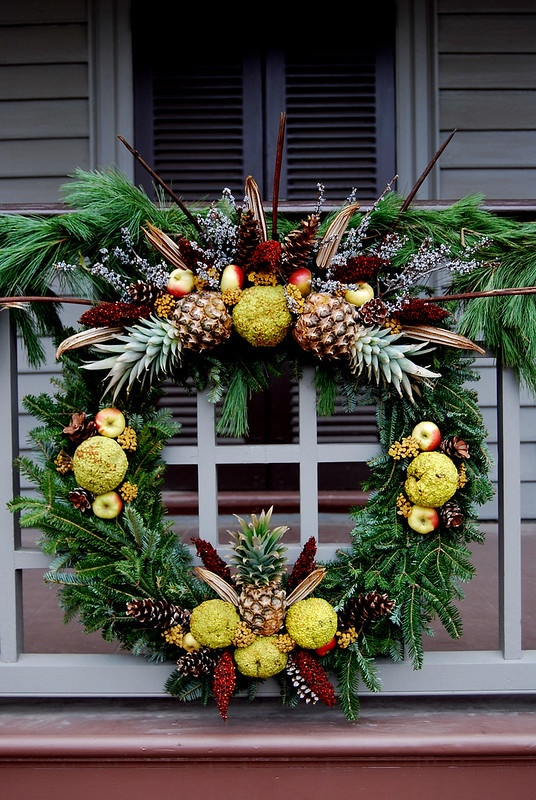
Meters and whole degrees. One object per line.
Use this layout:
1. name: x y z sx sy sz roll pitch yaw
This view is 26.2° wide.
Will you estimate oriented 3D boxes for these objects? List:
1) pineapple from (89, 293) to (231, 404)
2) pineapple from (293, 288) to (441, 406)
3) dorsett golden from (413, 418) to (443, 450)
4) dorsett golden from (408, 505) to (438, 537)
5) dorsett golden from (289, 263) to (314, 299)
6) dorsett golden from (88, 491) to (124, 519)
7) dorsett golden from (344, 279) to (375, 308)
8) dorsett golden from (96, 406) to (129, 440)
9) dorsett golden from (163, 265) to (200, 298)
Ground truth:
1. pineapple: -0.246 -0.137 2.859 0.460 0.168 0.173 -20 27 7
2. pineapple: 0.306 -0.136 2.746 0.475 0.175 0.177 18 10 8
3. dorsett golden: 0.384 0.087 2.753 0.072 0.062 0.064 -1 0 8
4. dorsett golden: 0.370 0.297 2.790 0.074 0.062 0.068 -3 -2 5
5. dorsett golden: 0.082 -0.286 2.779 0.063 0.059 0.063 -18 -4 -42
6. dorsett golden: -0.393 0.258 2.808 0.074 0.062 0.066 -7 -3 -3
7. dorsett golden: 0.223 -0.255 2.783 0.067 0.057 0.057 0 -14 -3
8. dorsett golden: -0.385 0.058 2.867 0.078 0.067 0.072 -9 6 1
9. dorsett golden: -0.209 -0.284 2.803 0.073 0.066 0.080 1 -24 7
